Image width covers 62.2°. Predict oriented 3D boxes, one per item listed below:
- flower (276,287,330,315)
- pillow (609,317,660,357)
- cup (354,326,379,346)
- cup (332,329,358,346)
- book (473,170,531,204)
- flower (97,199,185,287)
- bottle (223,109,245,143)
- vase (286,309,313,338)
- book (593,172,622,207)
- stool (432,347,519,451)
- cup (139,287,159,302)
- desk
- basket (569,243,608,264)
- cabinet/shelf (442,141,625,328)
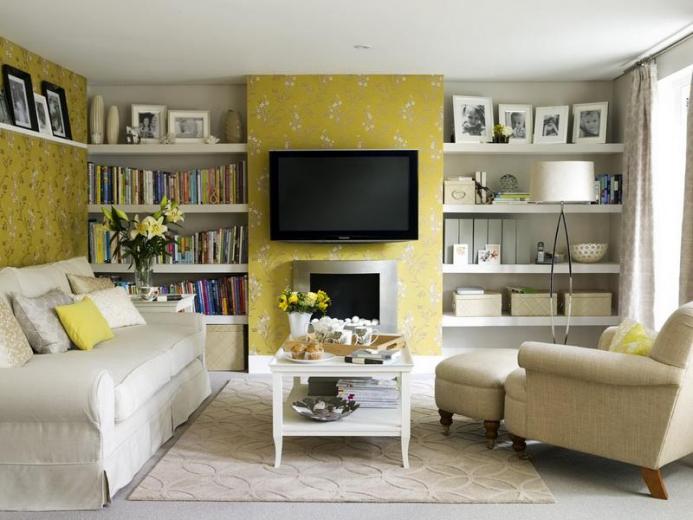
[{"bbox_3d":[-0.327,0.328,4.448,0.348,0.185,0.334,1,0,-3],"label":"flower"},{"bbox_3d":[1.877,0.529,3.695,0.085,0.241,0.247,24,5,-7],"label":"pillow"},{"bbox_3d":[0.143,0.552,4.094,0.162,0.111,0.100,1,-5,-8],"label":"cup"},{"bbox_3d":[-0.012,0.551,4.032,0.148,0.097,0.092,0,-4,2],"label":"cup"},{"bbox_3d":[1.554,-0.734,5.819,0.549,0.309,0.384,2,13,11],"label":"book"},{"bbox_3d":[-1.841,-0.117,5.163,0.749,0.759,0.703,-1,-1,-32],"label":"flower"},{"bbox_3d":[-1.141,-1.349,5.820,0.185,0.318,0.150,-3,13,-12],"label":"bottle"},{"bbox_3d":[-0.321,0.494,4.363,0.190,0.183,0.195,-3,-5,40],"label":"vase"},{"bbox_3d":[2.584,-0.676,5.778,0.292,0.366,0.390,-1,3,1],"label":"book"},{"bbox_3d":[0.930,1.045,4.263,0.487,0.408,0.510,-3,-15,37],"label":"stool"},{"bbox_3d":[-1.775,0.306,5.215,0.135,0.167,0.155,4,-14,-6],"label":"cup"},{"bbox_3d":[-0.022,0.974,3.901,0.921,0.736,0.547,1,13,5],"label":"desk"},{"bbox_3d":[2.441,-0.064,5.788,0.261,0.125,0.255,-2,-1,13],"label":"basket"},{"bbox_3d":[1.858,-0.296,5.702,2.070,1.763,0.600,1,0,-5],"label":"cabinet/shelf"}]
